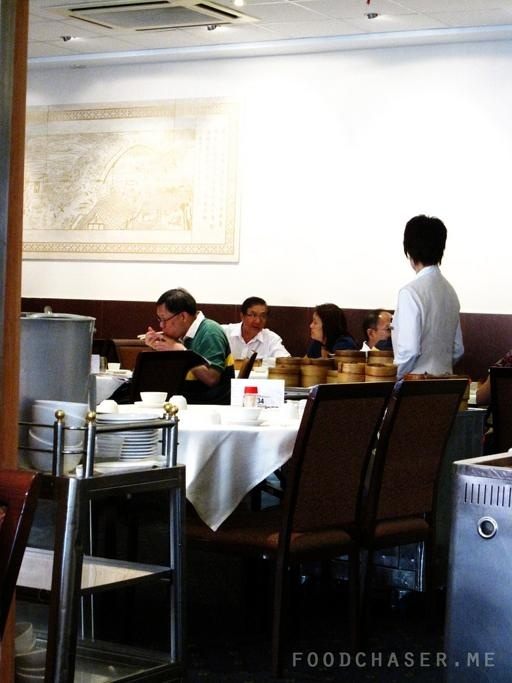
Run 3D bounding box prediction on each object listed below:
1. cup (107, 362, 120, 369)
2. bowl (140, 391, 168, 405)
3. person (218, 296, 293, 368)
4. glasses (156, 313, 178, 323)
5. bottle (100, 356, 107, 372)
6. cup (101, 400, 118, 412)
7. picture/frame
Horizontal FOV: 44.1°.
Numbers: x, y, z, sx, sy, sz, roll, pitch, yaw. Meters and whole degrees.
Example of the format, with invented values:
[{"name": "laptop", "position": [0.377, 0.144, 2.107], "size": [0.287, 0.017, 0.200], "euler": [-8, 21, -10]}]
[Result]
[{"name": "cup", "position": [-1.061, 0.188, 4.694], "size": [0.067, 0.044, 0.064], "euler": [-2, -3, 0]}, {"name": "bowl", "position": [-0.422, 0.236, 2.563], "size": [0.119, 0.053, 0.115], "euler": [1, -1, 0]}, {"name": "person", "position": [-0.021, -0.063, 6.145], "size": [0.782, 0.997, 0.587], "euler": [1, -5, -10]}, {"name": "glasses", "position": [-0.541, -0.144, 3.851], "size": [0.182, 0.054, 0.173], "euler": [-5, 5, -42]}, {"name": "bottle", "position": [-1.062, 0.164, 4.402], "size": [0.089, 0.115, 0.085], "euler": [-2, -5, 0]}, {"name": "cup", "position": [-0.503, 0.221, 2.159], "size": [0.041, 0.039, 0.041], "euler": [3, 7, 0]}, {"name": "picture/frame", "position": [-1.229, -1.819, 7.094], "size": [2.791, 1.860, 0.059], "euler": [2, 0, 19]}]
